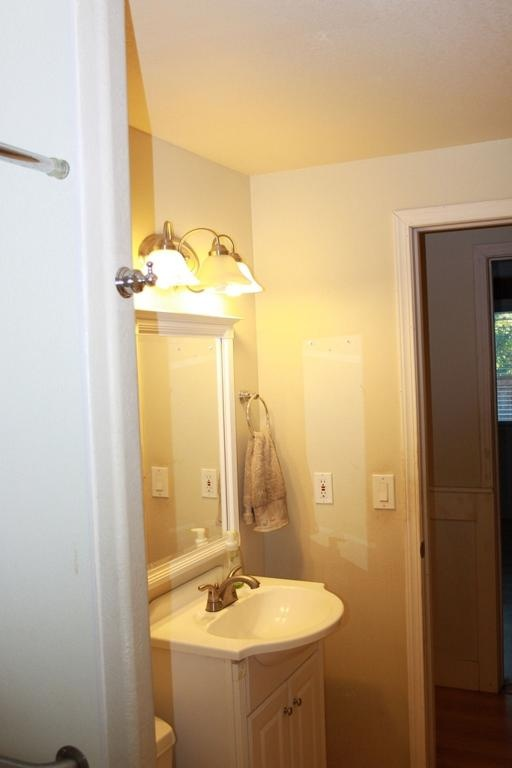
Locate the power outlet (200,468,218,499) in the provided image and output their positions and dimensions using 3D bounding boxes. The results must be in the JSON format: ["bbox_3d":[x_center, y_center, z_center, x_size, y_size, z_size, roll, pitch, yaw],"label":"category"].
[{"bbox_3d":[-0.152,0.317,2.144,0.013,0.123,0.108,0,-2,29],"label":"power outlet"}]

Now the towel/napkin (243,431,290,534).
[{"bbox_3d":[0.031,0.352,2.364,0.135,0.369,0.242,-1,2,20],"label":"towel/napkin"}]

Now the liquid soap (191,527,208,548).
[{"bbox_3d":[-0.172,0.470,2.083,0.039,0.060,0.061,1,20,20],"label":"liquid soap"}]

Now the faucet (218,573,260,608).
[{"bbox_3d":[-0.045,0.612,1.990,0.099,0.035,0.073,-1,-2,14],"label":"faucet"}]
